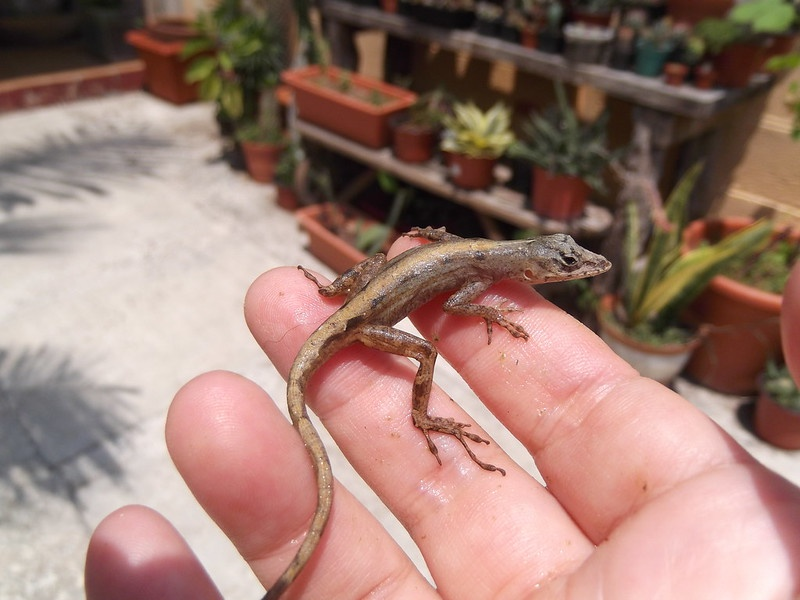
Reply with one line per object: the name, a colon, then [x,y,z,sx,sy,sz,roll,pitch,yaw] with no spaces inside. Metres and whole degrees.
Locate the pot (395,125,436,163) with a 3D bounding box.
pot: [0.137,-1.495,5.790,0.389,0.268,0.401,0,18,0]

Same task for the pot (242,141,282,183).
pot: [-1.611,-1.658,7.167,0.530,0.424,0.514,3,20,-1]

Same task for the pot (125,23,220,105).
pot: [-3.330,-3.427,8.633,1.059,0.871,1.080,7,36,-5]

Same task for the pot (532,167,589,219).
pot: [1.388,-0.917,5.199,0.495,0.394,0.414,-11,22,-43]

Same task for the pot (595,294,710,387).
pot: [2.066,0.260,4.984,0.683,0.520,0.702,10,31,-6]
